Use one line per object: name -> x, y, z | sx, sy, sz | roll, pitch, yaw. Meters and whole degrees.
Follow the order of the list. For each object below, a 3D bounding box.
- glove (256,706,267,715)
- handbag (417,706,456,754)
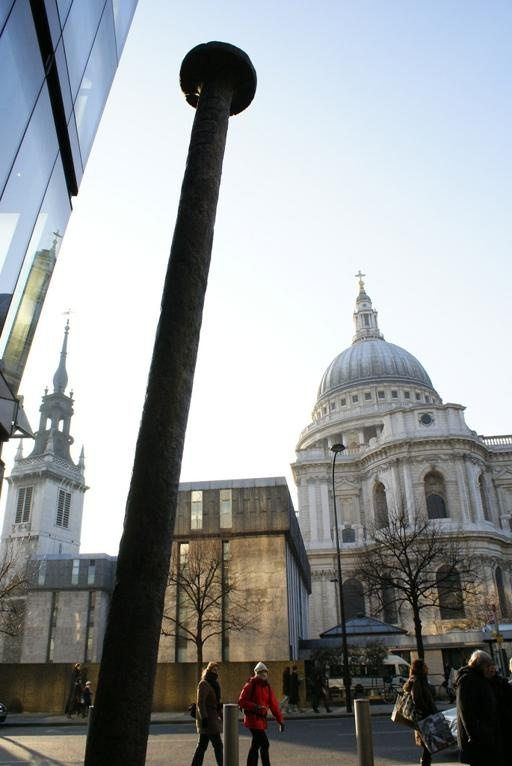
glove -> 0.071, 4.443, 7.337 | 0.198, 0.051, 0.214 | 5, -15, 2
handbag -> 2.200, 4.251, 6.572 | 0.479, 0.476, 0.149 | -25, -49, 15
